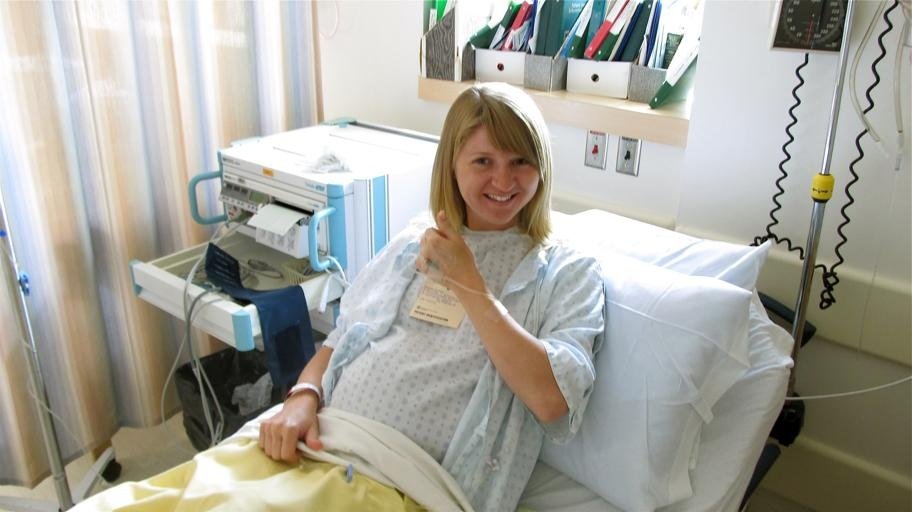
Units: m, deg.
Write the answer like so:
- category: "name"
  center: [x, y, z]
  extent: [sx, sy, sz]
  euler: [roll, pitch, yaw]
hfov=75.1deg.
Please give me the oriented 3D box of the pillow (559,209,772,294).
- category: "pillow"
  center: [0.747, -0.027, 2.111]
  extent: [0.464, 0.134, 0.401]
  euler: [20, 24, 29]

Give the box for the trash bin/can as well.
- category: "trash bin/can"
  center: [-1.087, 0.622, 2.858]
  extent: [0.494, 0.356, 0.478]
  euler: [-21, 9, -17]

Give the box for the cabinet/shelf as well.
- category: "cabinet/shelf"
  center: [-0.606, -0.124, 2.663]
  extent: [1.131, 0.713, 1.346]
  euler: [11, 26, 20]
